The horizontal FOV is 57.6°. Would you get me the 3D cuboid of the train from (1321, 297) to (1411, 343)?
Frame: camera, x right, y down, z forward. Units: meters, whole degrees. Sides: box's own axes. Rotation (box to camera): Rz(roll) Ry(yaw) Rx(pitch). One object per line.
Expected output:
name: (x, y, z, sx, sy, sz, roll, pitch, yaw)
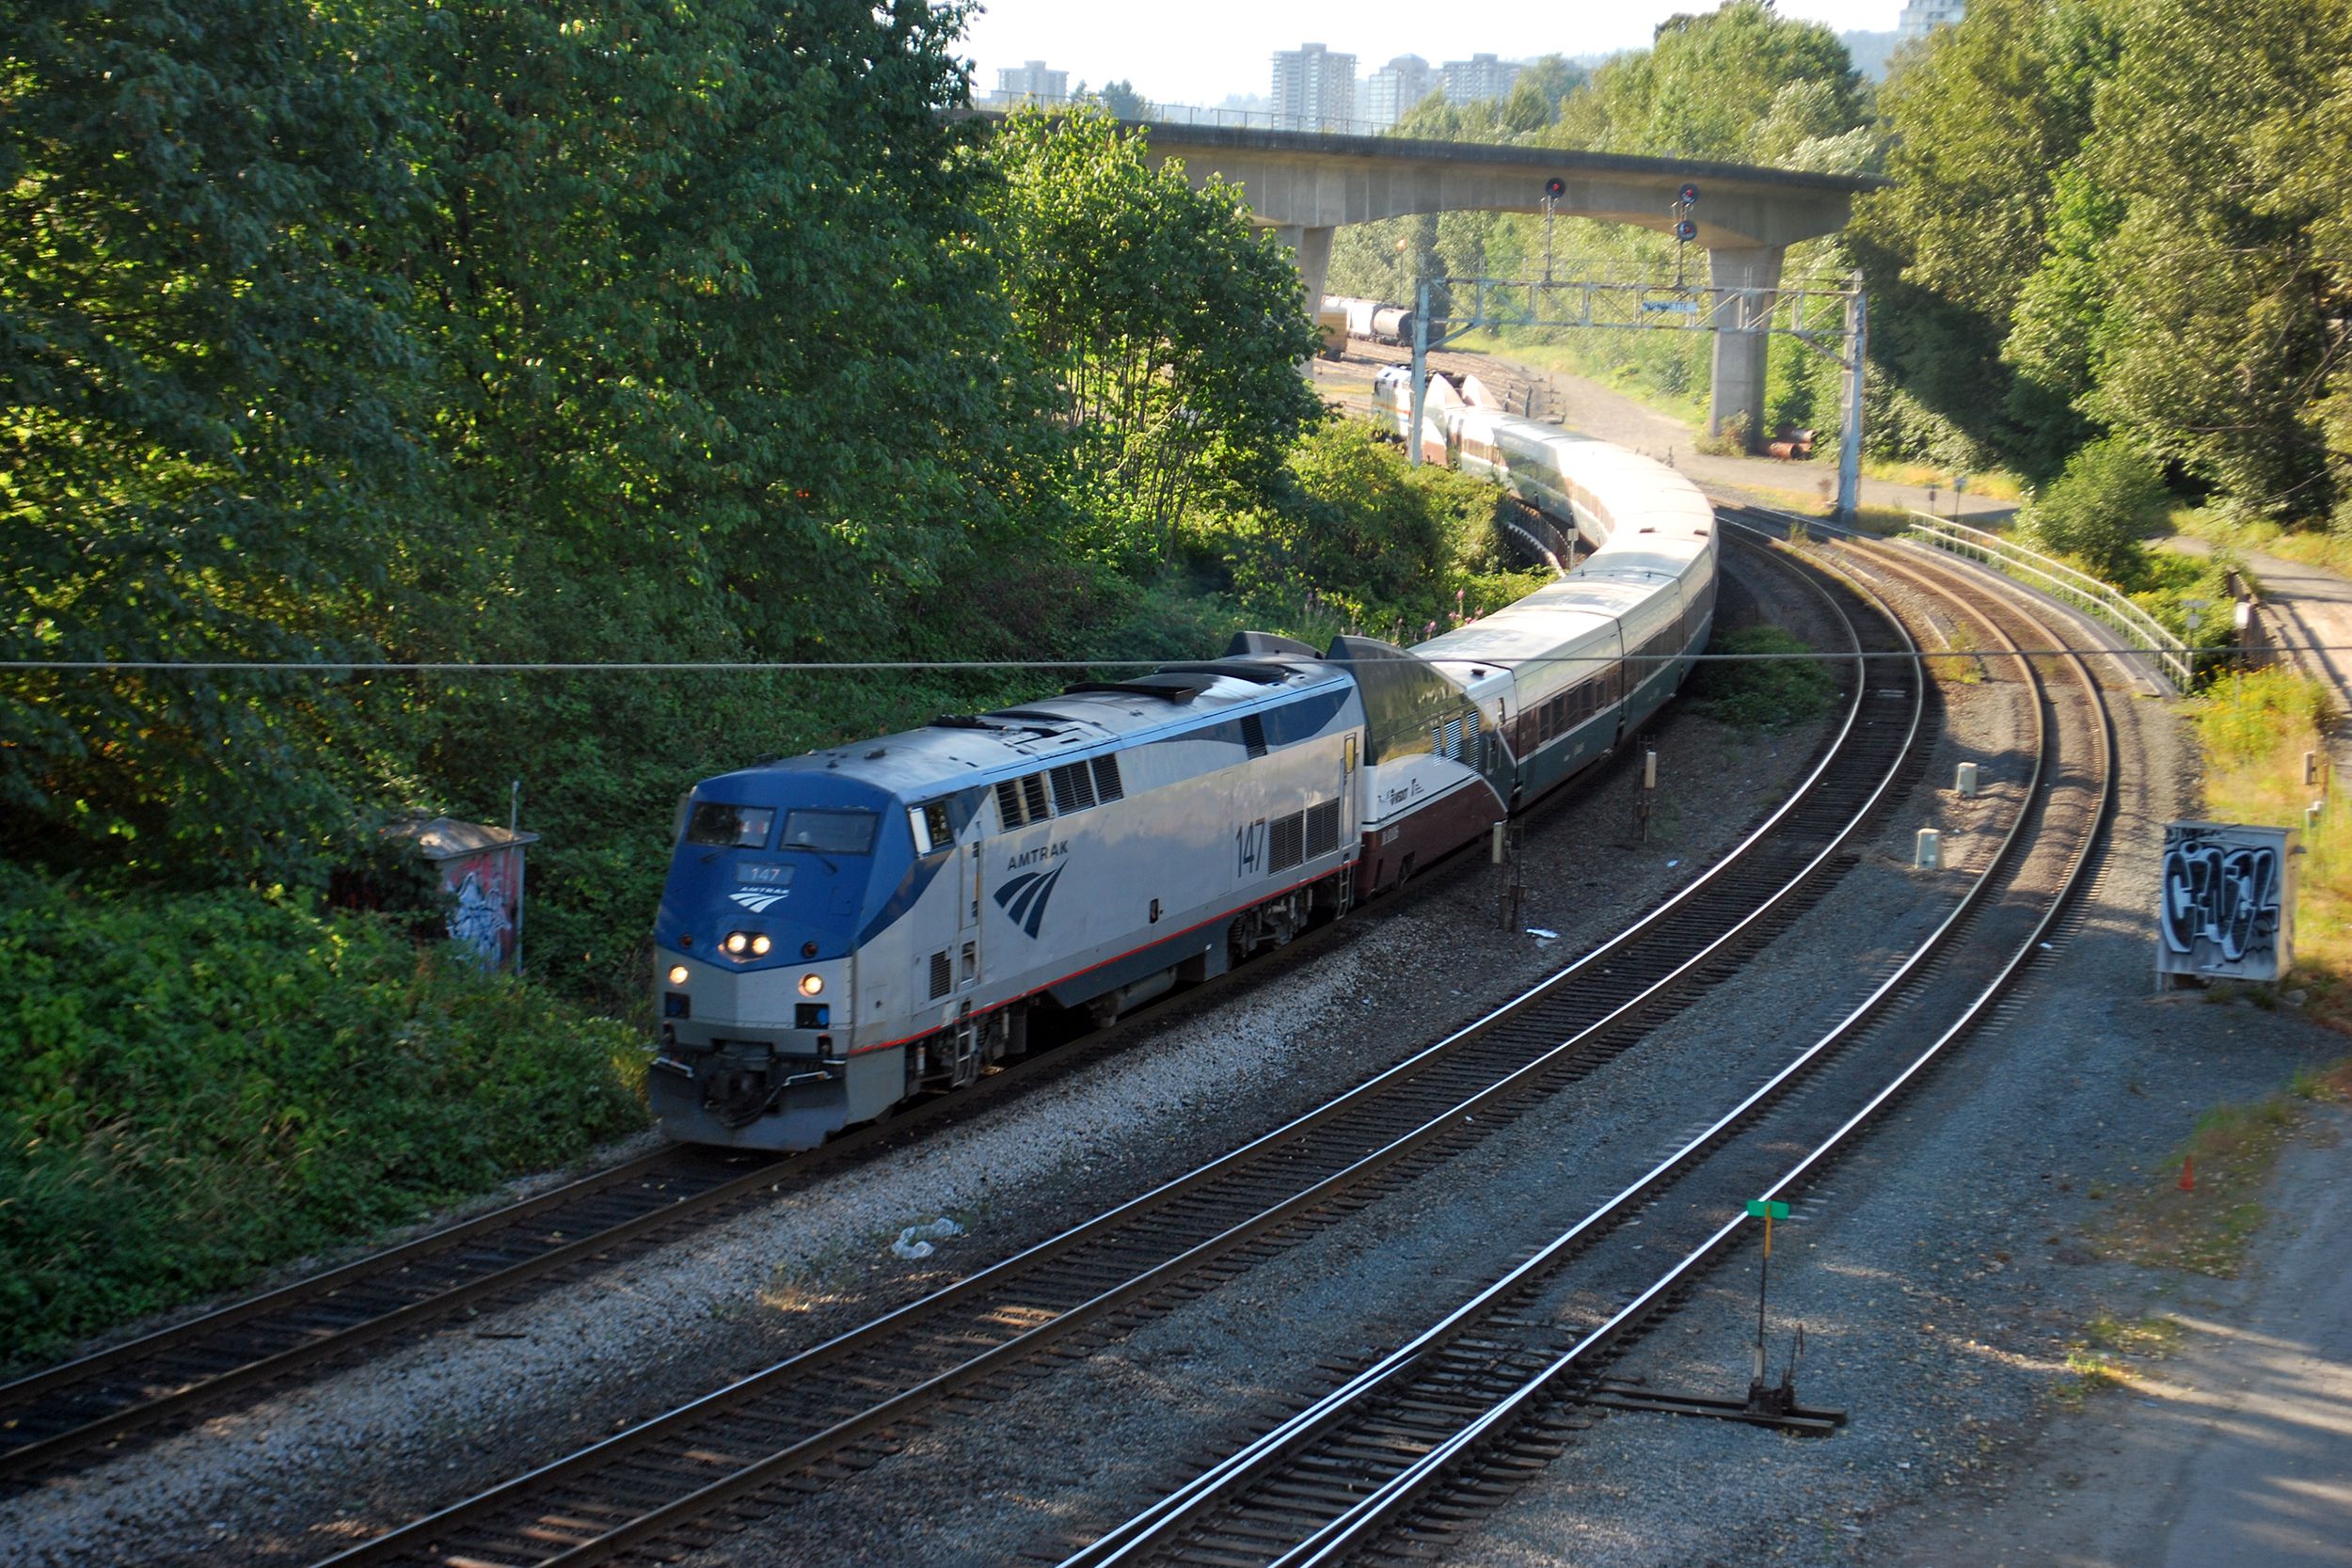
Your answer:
train: (14.408, -34.470, 158.871, 2.761, 3.025, 13.161, -9, 14, -25)
